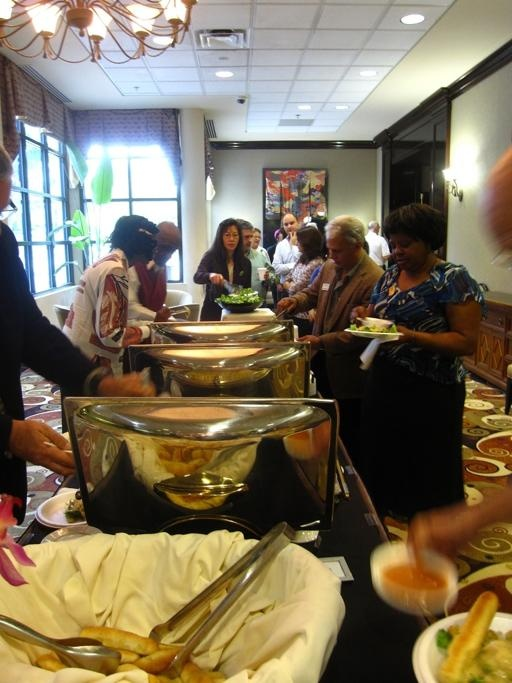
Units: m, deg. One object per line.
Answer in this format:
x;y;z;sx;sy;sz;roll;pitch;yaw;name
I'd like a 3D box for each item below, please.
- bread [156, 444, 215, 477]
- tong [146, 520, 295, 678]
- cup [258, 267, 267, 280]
-0.099;0.162;0.700;0.059;0.033;0.052;4;7;22;bread
-0.035;0.261;0.535;0.190;0.062;0.043;-37;-17;-14;tong
0.057;-0.689;5.178;0.082;0.104;0.121;-3;-7;17;cup
